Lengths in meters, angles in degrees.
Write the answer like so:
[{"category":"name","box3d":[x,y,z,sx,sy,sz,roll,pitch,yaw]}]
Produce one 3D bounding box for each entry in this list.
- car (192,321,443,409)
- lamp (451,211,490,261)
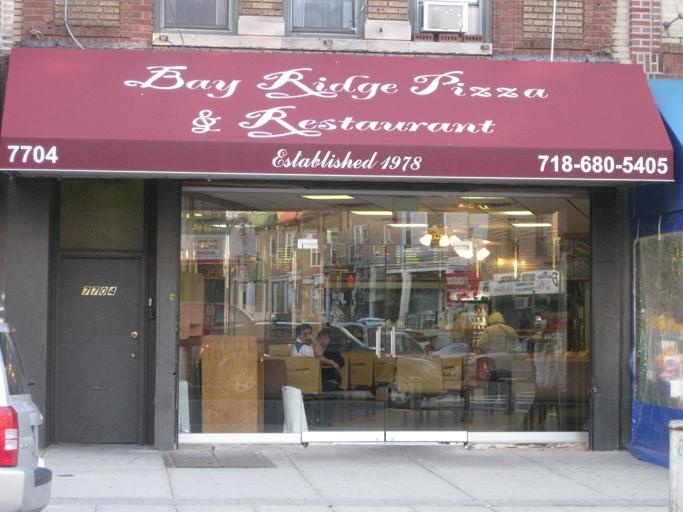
[{"category":"car","box3d":[-0.288,1.666,17.151,2.631,1.052,1.548,1,-5,-1]},{"category":"lamp","box3d":[1.936,-0.319,17.188,0.679,0.684,0.733,0,-1,0]}]
